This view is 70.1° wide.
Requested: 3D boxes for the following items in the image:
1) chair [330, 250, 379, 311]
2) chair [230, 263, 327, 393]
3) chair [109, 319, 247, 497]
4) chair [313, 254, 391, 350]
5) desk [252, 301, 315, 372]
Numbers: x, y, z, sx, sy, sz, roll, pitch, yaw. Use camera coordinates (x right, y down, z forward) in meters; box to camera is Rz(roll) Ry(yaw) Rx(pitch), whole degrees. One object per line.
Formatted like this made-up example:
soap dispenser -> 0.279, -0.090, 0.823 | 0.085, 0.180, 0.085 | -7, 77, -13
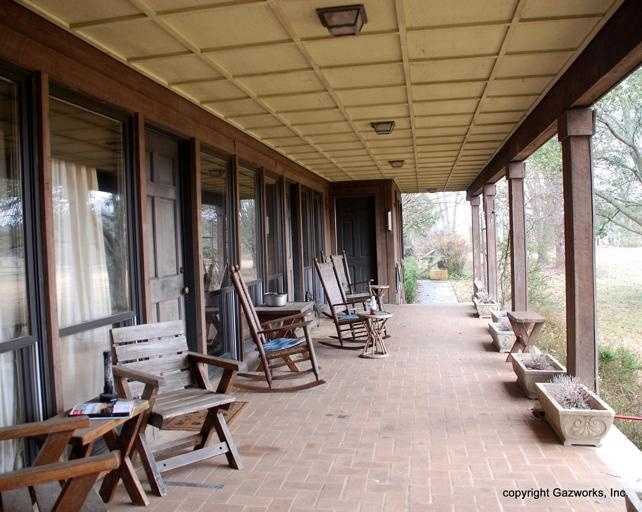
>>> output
chair -> 0.592, 0.406, 7.425 | 0.611, 0.869, 0.517 | -4, 0, 6
chair -> -0.469, 0.728, 4.702 | 0.926, 1.229, 0.718 | -3, 1, -14
chair -> -0.941, 0.935, 2.934 | 0.715, 0.870, 0.711 | -2, -3, 33
chair -> 0.457, 0.647, 6.368 | 0.904, 1.230, 0.699 | -6, 0, 27
desk -> -0.431, 0.864, 5.132 | 0.701, 0.706, 0.743 | -1, -4, 9
